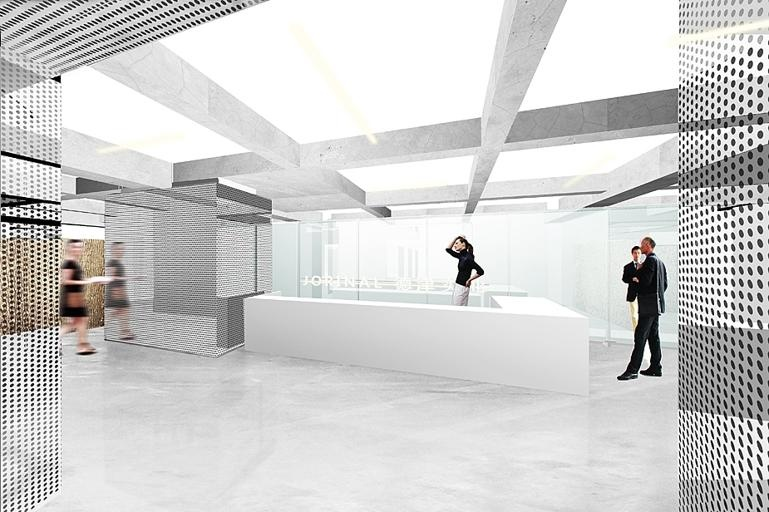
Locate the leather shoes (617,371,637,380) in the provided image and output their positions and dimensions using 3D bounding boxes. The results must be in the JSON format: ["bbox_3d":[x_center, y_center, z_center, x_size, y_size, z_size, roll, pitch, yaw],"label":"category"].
[{"bbox_3d":[3.156,1.545,6.344,0.306,0.094,0.106,4,-10,-19],"label":"leather shoes"}]

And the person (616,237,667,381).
[{"bbox_3d":[3.383,0.686,6.372,0.459,1.828,0.664,4,8,32],"label":"person"}]

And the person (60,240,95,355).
[{"bbox_3d":[-5.017,0.611,8.011,0.445,1.793,1.623,-5,8,-32],"label":"person"}]
